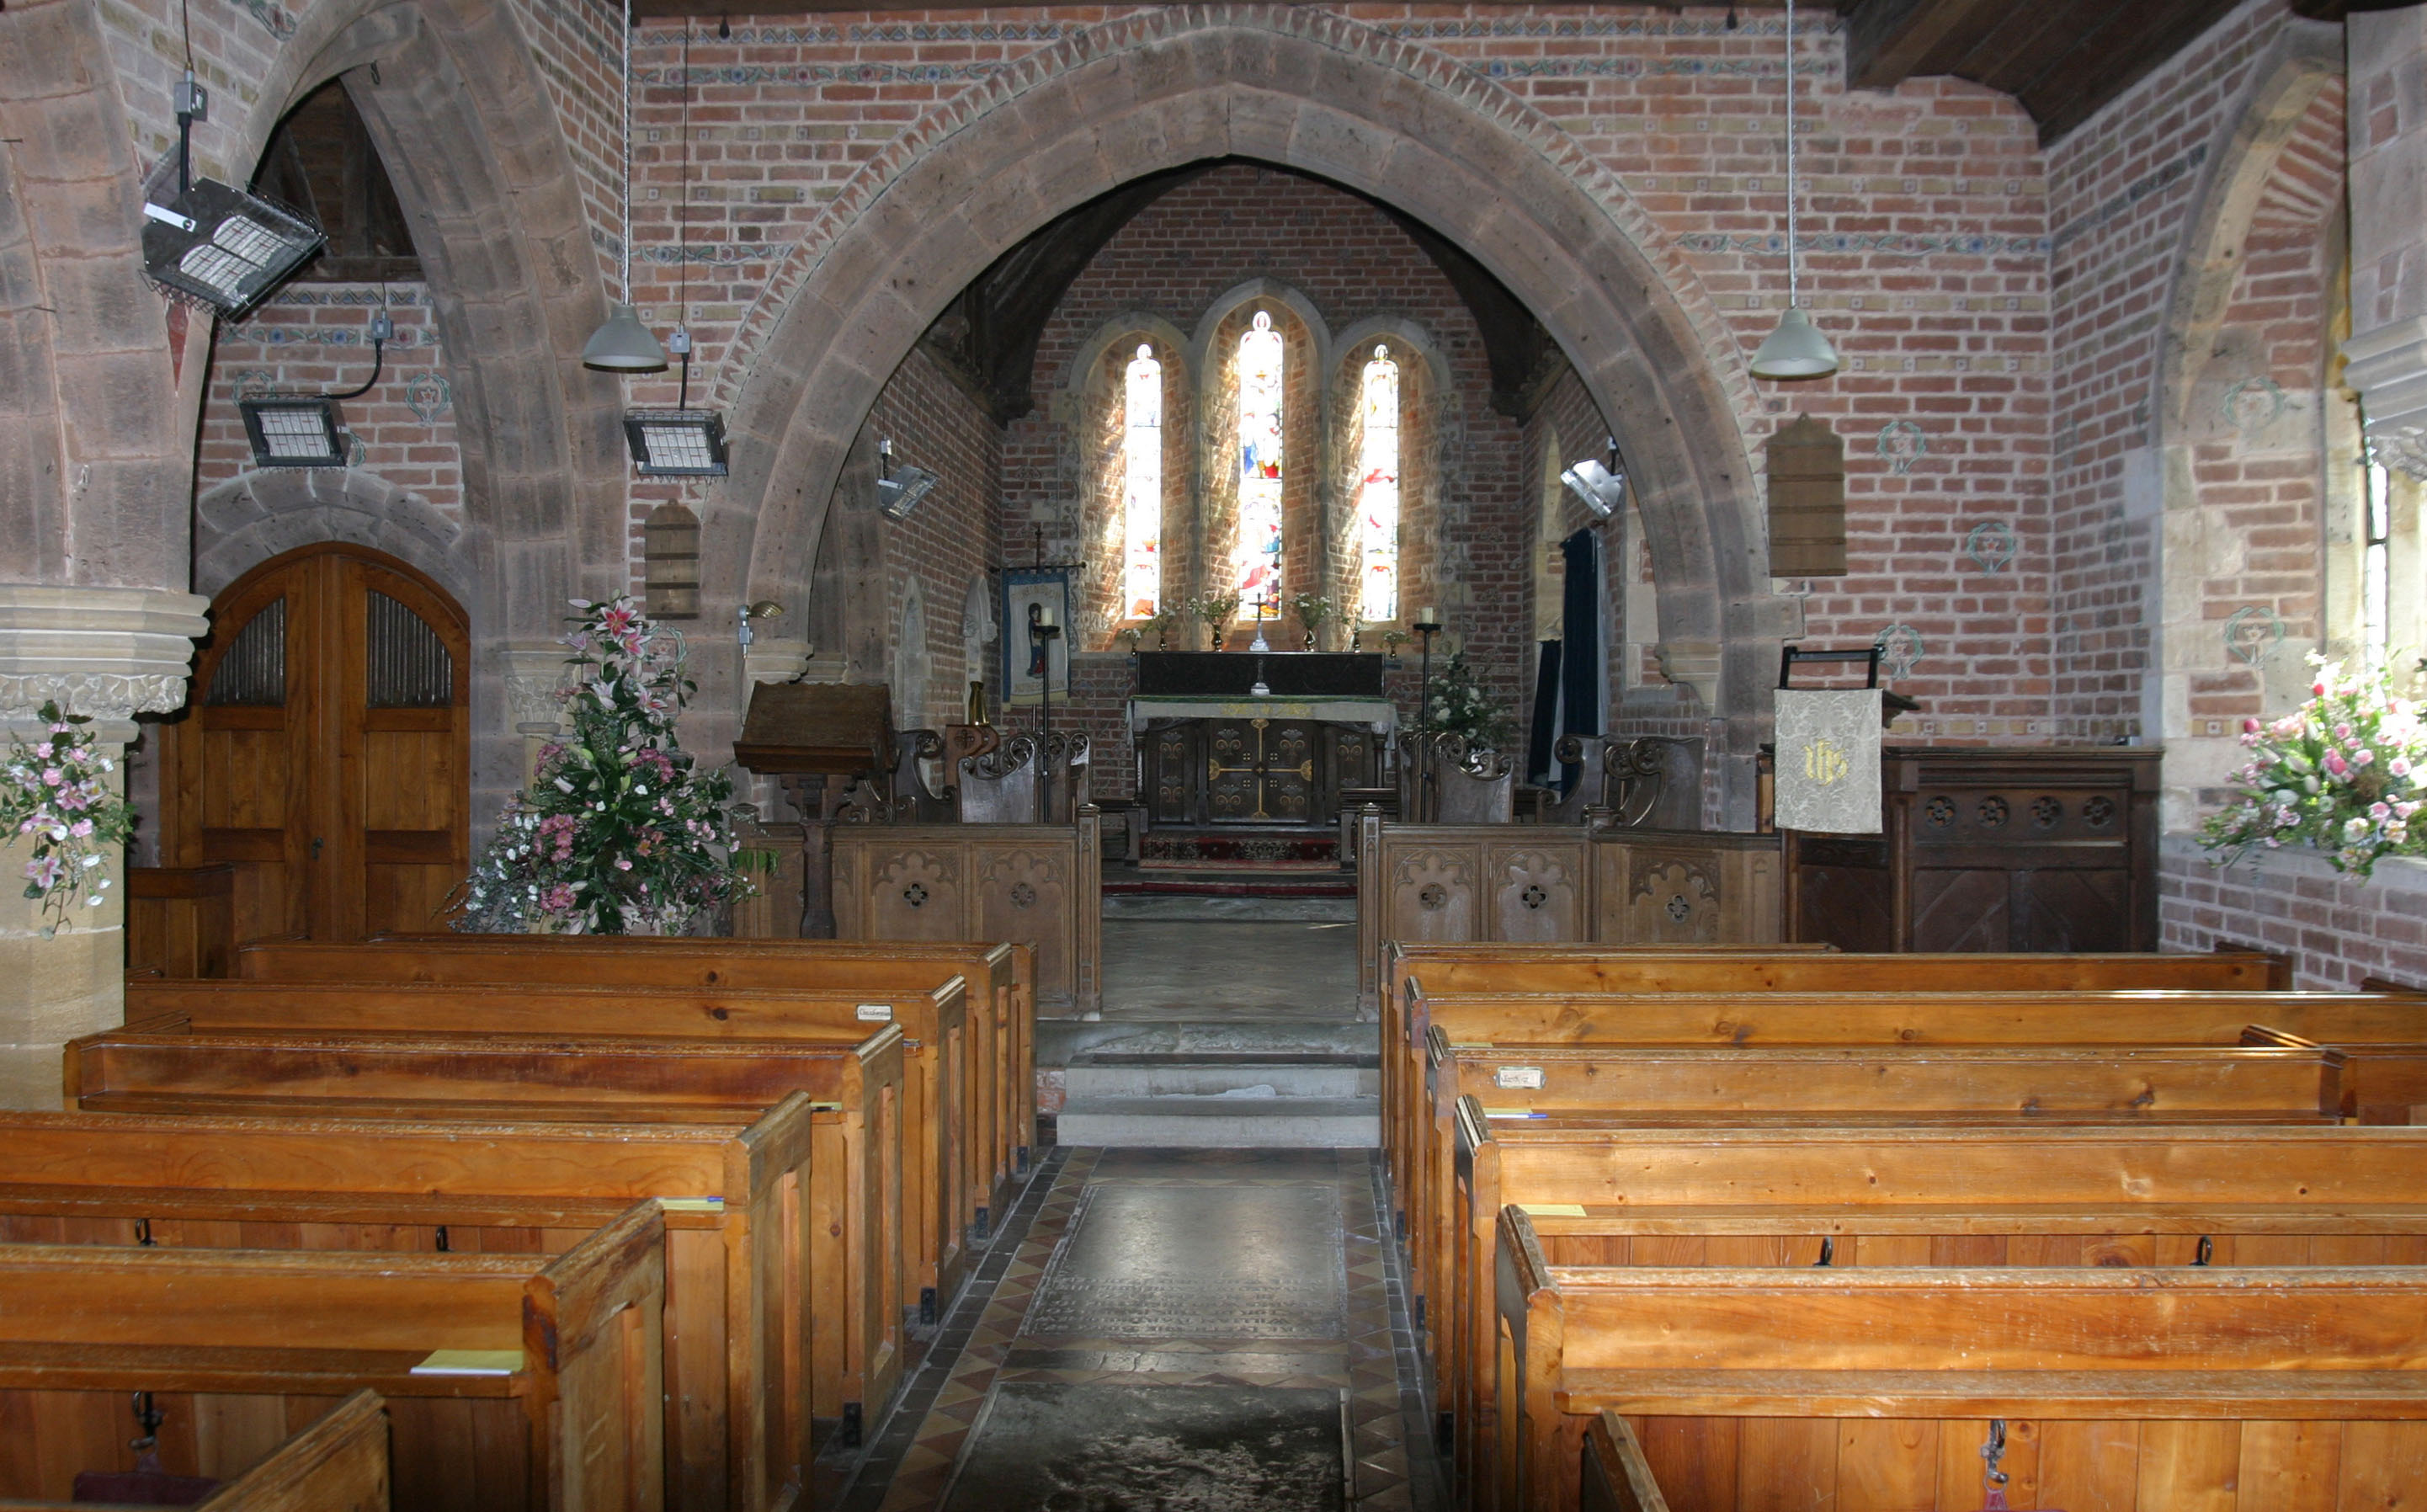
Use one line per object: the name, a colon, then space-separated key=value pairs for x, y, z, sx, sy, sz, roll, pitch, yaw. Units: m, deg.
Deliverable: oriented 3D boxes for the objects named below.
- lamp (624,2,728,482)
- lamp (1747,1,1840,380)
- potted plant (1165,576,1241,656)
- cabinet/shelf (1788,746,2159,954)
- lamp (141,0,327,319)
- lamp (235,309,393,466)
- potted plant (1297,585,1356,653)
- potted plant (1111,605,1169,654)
lamp: x=-2.664 y=-2.424 z=11.259 sx=0.489 sy=2.058 sz=0.969 roll=3 pitch=12 yaw=-4
lamp: x=2.841 y=-2.726 z=10.755 sx=0.430 sy=1.886 sz=1.519 roll=6 pitch=12 yaw=13
potted plant: x=-0.133 y=-1.297 z=21.194 sx=0.612 sy=0.712 sz=0.731 roll=0 pitch=1 yaw=12
cabinet/shelf: x=3.539 y=0.316 z=10.624 sx=1.151 sy=1.508 sz=1.141 roll=0 pitch=3 yaw=7
lamp: x=-3.547 y=-2.001 z=8.087 sx=0.656 sy=0.853 sz=0.251 roll=5 pitch=12 yaw=5
lamp: x=-4.838 y=-1.939 z=11.972 sx=0.591 sy=0.852 sz=0.580 roll=6 pitch=12 yaw=13
potted plant: x=1.052 y=-1.287 z=21.275 sx=0.643 sy=0.719 sz=0.569 roll=0 pitch=-7 yaw=4
potted plant: x=-0.735 y=-1.185 z=21.463 sx=0.526 sy=0.308 sz=0.494 roll=-2 pitch=31 yaw=4
